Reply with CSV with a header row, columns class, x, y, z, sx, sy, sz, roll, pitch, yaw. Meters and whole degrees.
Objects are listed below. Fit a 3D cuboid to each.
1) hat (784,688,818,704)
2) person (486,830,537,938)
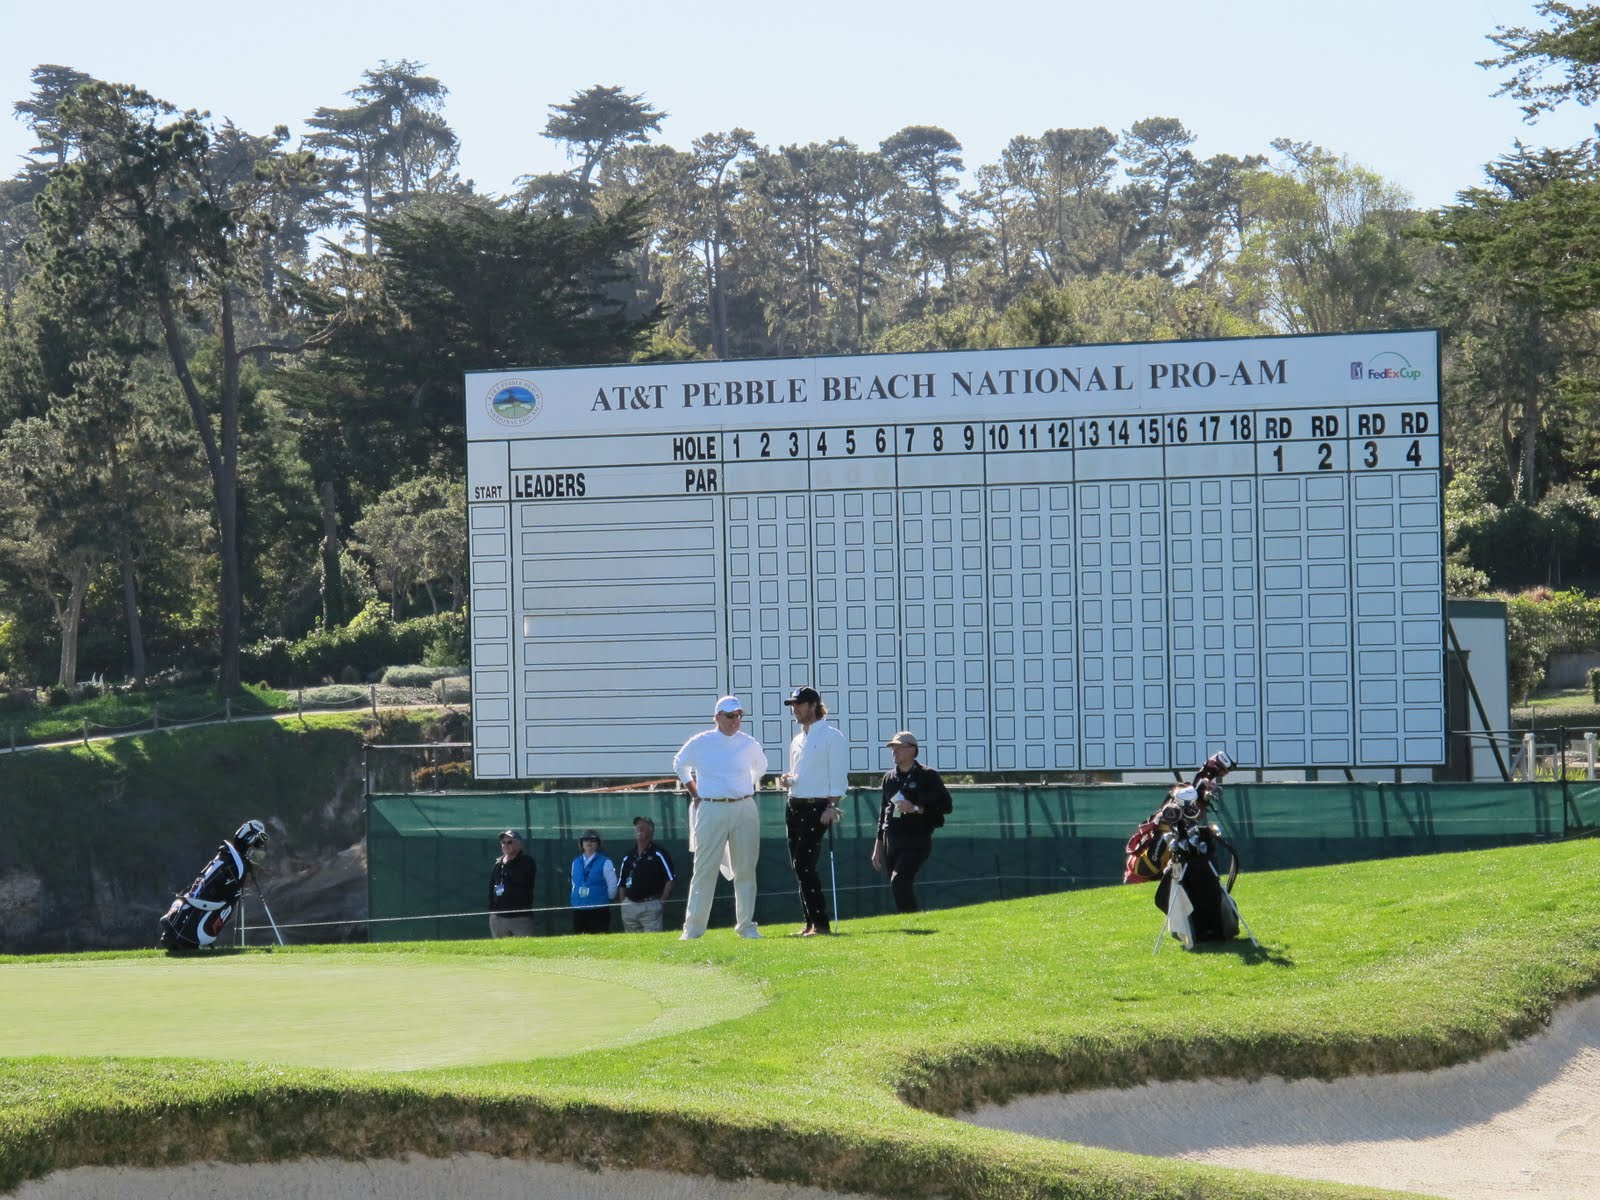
class,x,y,z,sx,sy,sz,roll,pitch,yaw
hat,0.232,2.358,89.558,0.519,0.342,0.382,8,-2,-3
person,-6.913,6.942,93.349,1.063,2.599,1.451,-2,-5,-5
